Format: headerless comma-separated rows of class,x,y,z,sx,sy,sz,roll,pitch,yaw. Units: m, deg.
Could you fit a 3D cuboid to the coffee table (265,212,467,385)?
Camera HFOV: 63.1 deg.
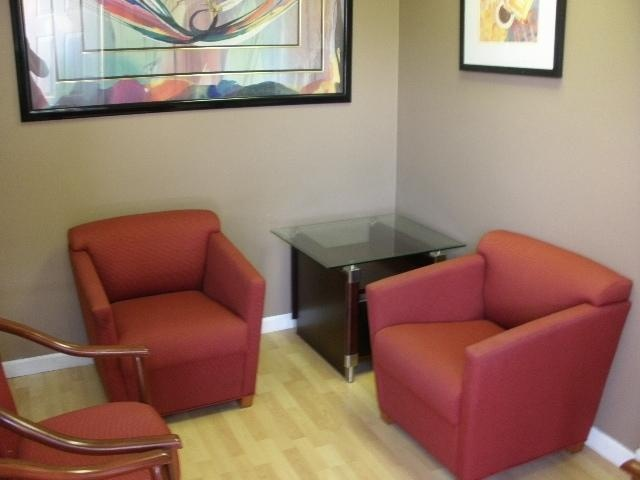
coffee table,0.243,0.103,3.664,1.137,0.904,1.022,-11,23,-26

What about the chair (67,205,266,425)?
chair,-0.891,0.397,3.194,1.140,1.285,1.147,-12,33,-26

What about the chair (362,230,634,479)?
chair,0.927,0.537,2.945,1.235,1.236,1.068,-12,26,-26
